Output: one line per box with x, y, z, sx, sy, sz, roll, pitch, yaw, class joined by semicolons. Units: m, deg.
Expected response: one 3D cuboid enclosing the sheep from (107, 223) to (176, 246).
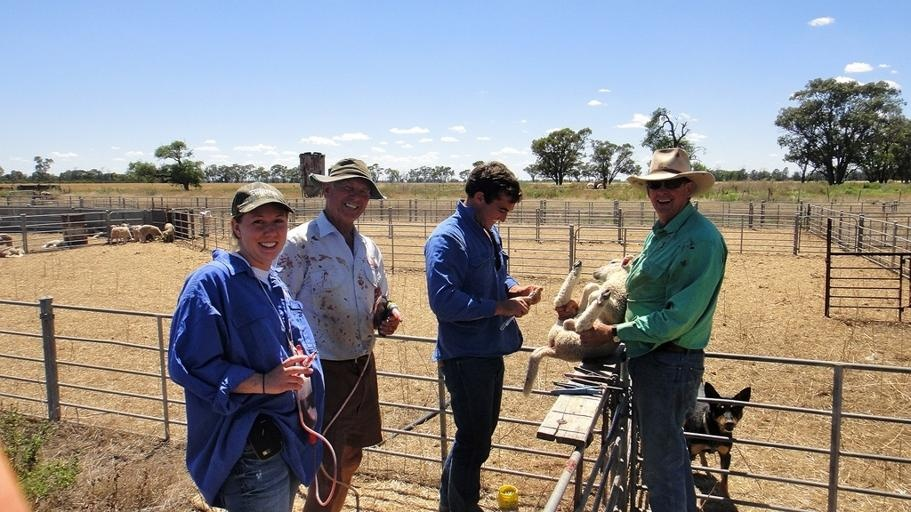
-13.581;-1.039;25.633;2.445;0.806;1.572;-2;7;-21;sheep

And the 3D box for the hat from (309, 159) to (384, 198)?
-1.281;-0.918;6.911;0.819;0.445;0.461;-1;7;-10;hat

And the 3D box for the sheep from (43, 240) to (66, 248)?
-16.211;-0.514;23.854;0.711;0.270;1.155;-5;8;-37;sheep
